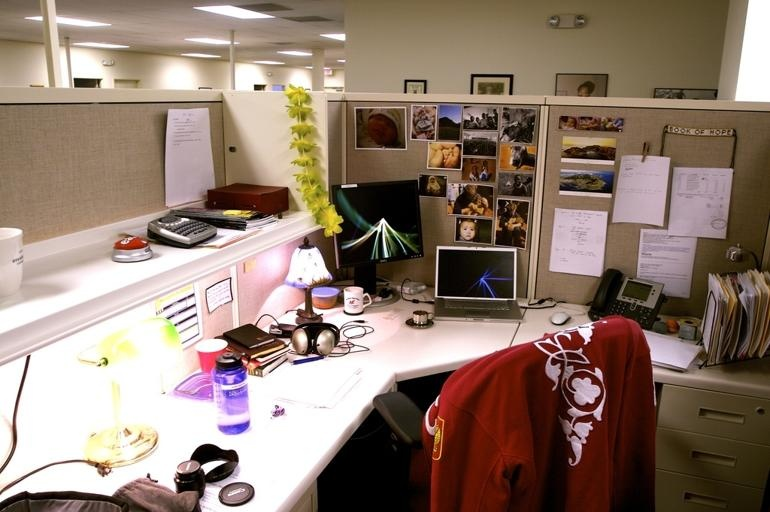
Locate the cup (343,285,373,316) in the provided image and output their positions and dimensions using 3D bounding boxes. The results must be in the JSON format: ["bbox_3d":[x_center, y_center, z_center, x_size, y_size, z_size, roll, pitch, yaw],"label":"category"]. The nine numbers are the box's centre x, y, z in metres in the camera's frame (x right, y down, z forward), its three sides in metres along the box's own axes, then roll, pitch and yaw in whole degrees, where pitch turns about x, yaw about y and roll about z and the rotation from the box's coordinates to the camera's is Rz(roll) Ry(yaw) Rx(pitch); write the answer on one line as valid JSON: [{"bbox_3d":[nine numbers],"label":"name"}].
[{"bbox_3d":[-0.150,0.232,2.741,0.167,0.132,0.108,1,8,-13],"label":"cup"}]

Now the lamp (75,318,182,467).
[{"bbox_3d":[-0.918,0.479,1.902,0.385,0.479,0.272,-2,10,11],"label":"lamp"}]

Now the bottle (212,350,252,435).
[{"bbox_3d":[-0.550,0.499,1.930,0.117,0.292,0.089,-5,18,-19],"label":"bottle"}]

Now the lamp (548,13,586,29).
[{"bbox_3d":[1.665,-2.162,4.914,0.336,0.137,0.076,3,19,13],"label":"lamp"}]

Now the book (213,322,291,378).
[{"bbox_3d":[-0.561,0.390,2.290,0.218,0.065,0.197,22,30,25],"label":"book"}]

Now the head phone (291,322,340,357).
[{"bbox_3d":[-0.311,0.372,2.421,0.222,0.098,0.238,-7,15,10],"label":"head phone"}]

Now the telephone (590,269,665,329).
[{"bbox_3d":[1.190,0.214,2.616,0.259,0.186,0.311,-35,27,-29],"label":"telephone"}]

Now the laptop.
[{"bbox_3d":[0.469,0.131,2.756,0.483,0.298,0.360,1,10,3],"label":"laptop"}]

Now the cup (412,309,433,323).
[{"bbox_3d":[0.180,0.301,2.589,0.088,0.040,0.050,4,-2,-38],"label":"cup"}]

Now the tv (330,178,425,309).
[{"bbox_3d":[-0.042,-0.080,2.801,0.614,0.685,0.270,-8,12,-20],"label":"tv"}]
